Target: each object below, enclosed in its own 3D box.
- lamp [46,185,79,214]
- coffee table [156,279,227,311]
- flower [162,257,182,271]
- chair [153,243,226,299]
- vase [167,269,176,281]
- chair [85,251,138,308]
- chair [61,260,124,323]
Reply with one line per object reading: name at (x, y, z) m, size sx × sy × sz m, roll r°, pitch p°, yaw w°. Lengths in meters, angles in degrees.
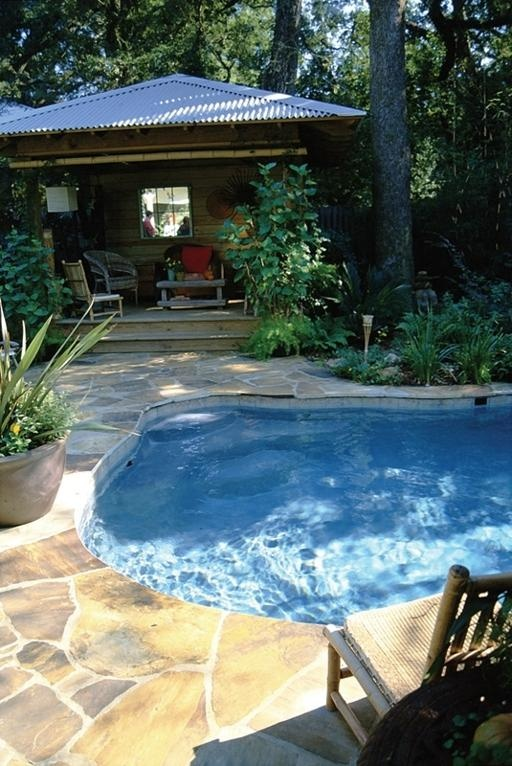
lamp at (-3.413, -3.168, 10.407) m, size 0.490 × 0.494 × 0.484 m, roll -5°, pitch 15°, yaw -1°
coffee table at (-1.163, -1.565, 10.550) m, size 1.134 × 0.552 × 1.511 m, roll -3°, pitch 13°, yaw -9°
flower at (-1.525, -2.191, 10.966) m, size 0.324 × 0.133 × 0.326 m, roll 2°, pitch 25°, yaw -1°
chair at (-1.171, -2.013, 10.755) m, size 1.196 × 1.027 × 1.128 m, roll -6°, pitch 9°, yaw -21°
vase at (-1.476, -1.896, 10.473) m, size 0.184 × 0.202 × 0.186 m, roll -1°, pitch 3°, yaw -4°
chair at (-2.631, -1.910, 10.783) m, size 0.759 × 0.949 × 0.895 m, roll 2°, pitch 12°, yaw 21°
chair at (-2.591, -1.477, 9.444) m, size 0.706 × 0.950 × 0.574 m, roll -13°, pitch 17°, yaw -43°
